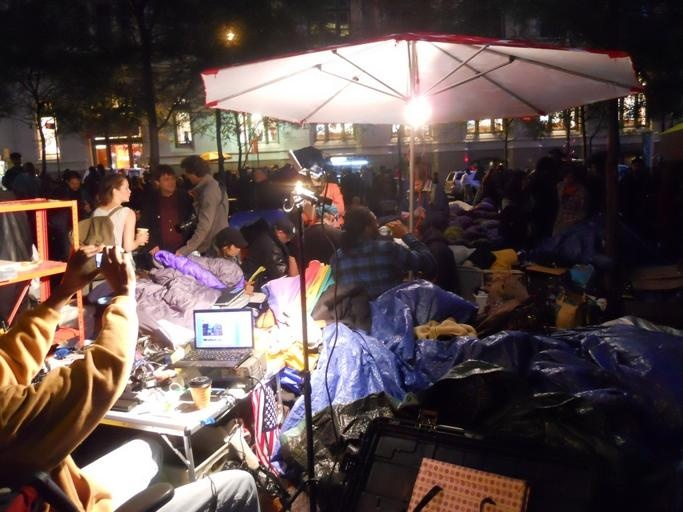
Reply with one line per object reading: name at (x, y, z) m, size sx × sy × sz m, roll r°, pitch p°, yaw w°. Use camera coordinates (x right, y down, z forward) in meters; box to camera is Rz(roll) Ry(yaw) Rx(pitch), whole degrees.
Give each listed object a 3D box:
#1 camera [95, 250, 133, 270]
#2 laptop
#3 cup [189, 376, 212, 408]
camera at (-1.201, 0.025, 3.017) m, size 0.090 × 0.061 × 0.129 m, roll 0°, pitch -4°, yaw 28°
laptop at (-0.975, 0.662, 4.664) m, size 0.510 × 0.395 × 0.431 m, roll 0°, pitch 2°, yaw 11°
cup at (-0.992, 0.967, 4.087) m, size 0.158 × 0.188 × 0.177 m, roll -2°, pitch -2°, yaw -4°
